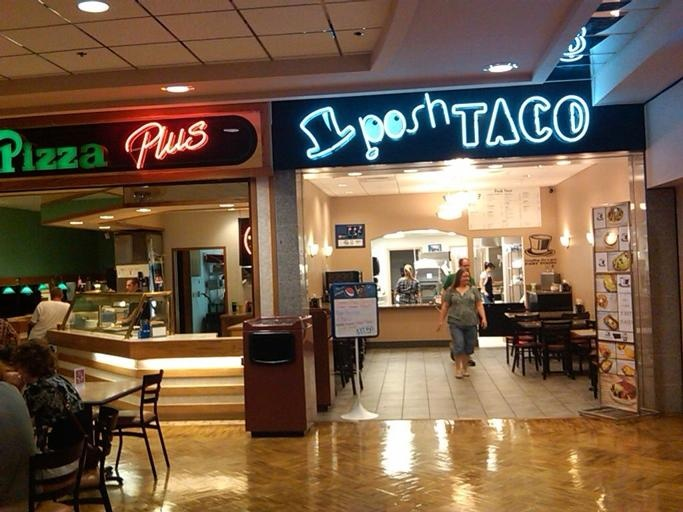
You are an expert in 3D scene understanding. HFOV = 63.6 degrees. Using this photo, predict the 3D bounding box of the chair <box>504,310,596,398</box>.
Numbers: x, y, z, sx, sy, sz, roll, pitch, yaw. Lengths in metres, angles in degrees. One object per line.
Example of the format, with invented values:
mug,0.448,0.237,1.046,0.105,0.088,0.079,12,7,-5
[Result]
chair,3.664,1.810,9.547,1.055,0.709,1.816,0,-1,5

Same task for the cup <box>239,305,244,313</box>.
cup,-2.066,1.098,11.332,0.137,0.120,0.130,0,1,0

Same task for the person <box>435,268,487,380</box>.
person,2.085,1.156,9.528,0.772,1.457,0.630,-3,1,-12

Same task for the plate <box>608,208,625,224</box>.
plate,3.589,-0.531,7.192,0.058,0.161,0.171,3,16,-30

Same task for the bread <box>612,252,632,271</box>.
bread,3.645,0.080,7.168,0.054,0.165,0.253,-3,2,-22

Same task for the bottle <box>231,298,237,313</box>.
bottle,-2.442,1.147,12.494,0.120,0.254,0.093,-3,1,-3

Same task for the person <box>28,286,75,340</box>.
person,-4.710,0.912,8.921,0.532,0.885,0.784,-4,2,-39

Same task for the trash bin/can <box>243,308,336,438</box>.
trash bin/can,-0.711,1.500,7.070,0.942,1.483,1.616,-1,-1,5

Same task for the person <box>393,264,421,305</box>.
person,1.536,0.688,13.077,0.588,0.760,0.854,-3,1,7
